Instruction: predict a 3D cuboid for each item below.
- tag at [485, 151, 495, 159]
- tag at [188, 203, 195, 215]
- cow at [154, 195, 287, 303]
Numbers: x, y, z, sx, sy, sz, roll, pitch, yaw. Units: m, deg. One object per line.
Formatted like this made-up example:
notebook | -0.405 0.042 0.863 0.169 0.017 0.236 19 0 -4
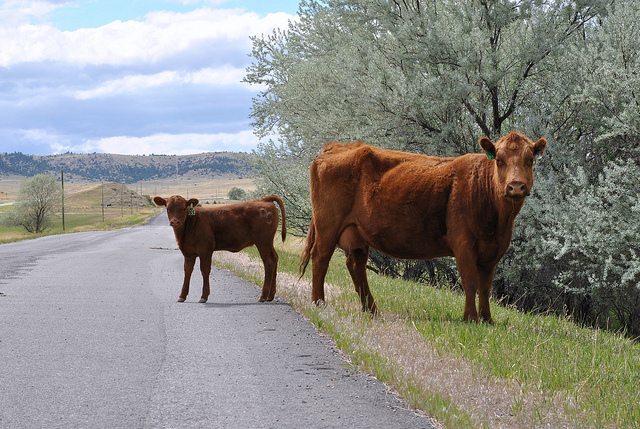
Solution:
tag | 2.868 -1.011 9.405 0.123 0.131 0.035 8 15 28
tag | -2.968 -0.126 12.786 0.130 0.257 0.258 -3 9 -6
cow | -2.317 0.810 13.204 3.034 2.519 1.056 0 -3 -17
